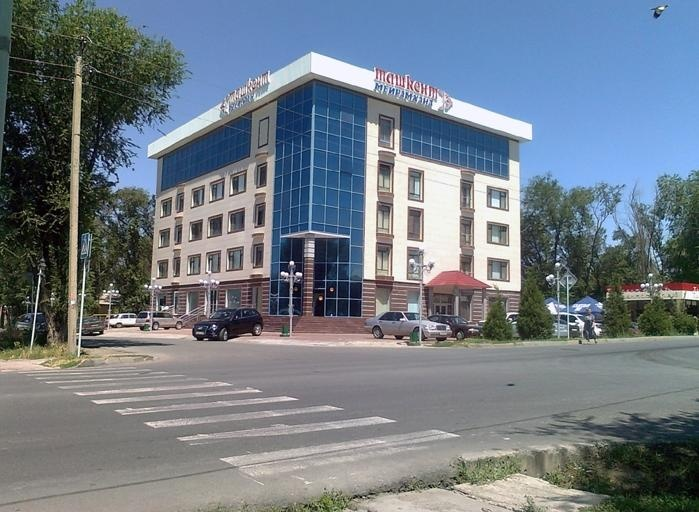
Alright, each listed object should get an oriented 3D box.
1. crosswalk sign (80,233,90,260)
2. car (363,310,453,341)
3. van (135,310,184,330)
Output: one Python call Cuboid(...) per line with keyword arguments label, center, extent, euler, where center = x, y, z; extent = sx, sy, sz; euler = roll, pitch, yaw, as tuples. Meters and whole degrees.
Cuboid(label="crosswalk sign", center=(-9.720, -0.327, 20.815), extent=(0.159, 1.173, 0.901), euler=(9, -14, -43))
Cuboid(label="car", center=(3.716, 4.568, 37.186), extent=(2.452, 1.914, 5.489), euler=(8, -11, -35))
Cuboid(label="van", center=(-18.709, 6.404, 56.019), extent=(3.736, 1.599, 2.185), euler=(0, -3, -25))
